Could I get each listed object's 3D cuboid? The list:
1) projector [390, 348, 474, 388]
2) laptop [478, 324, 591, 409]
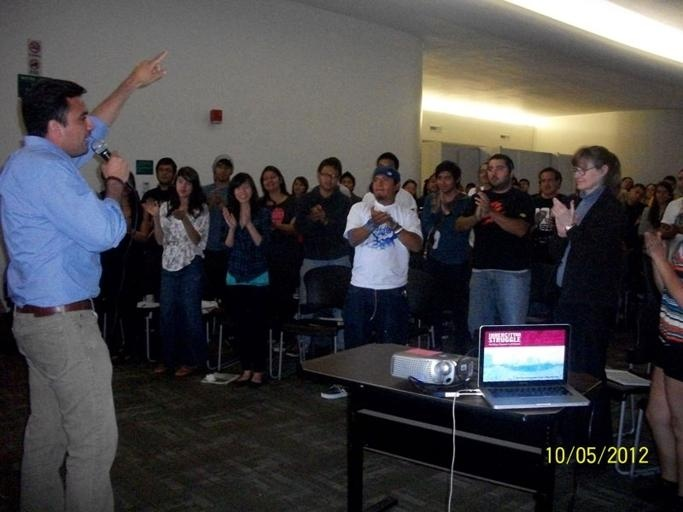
[{"bbox_3d":[0.390,0.458,2.480,0.278,0.139,0.356,6,6,37],"label":"projector"},{"bbox_3d":[0.777,0.444,2.225,0.399,0.292,0.221,0,8,-6],"label":"laptop"}]
